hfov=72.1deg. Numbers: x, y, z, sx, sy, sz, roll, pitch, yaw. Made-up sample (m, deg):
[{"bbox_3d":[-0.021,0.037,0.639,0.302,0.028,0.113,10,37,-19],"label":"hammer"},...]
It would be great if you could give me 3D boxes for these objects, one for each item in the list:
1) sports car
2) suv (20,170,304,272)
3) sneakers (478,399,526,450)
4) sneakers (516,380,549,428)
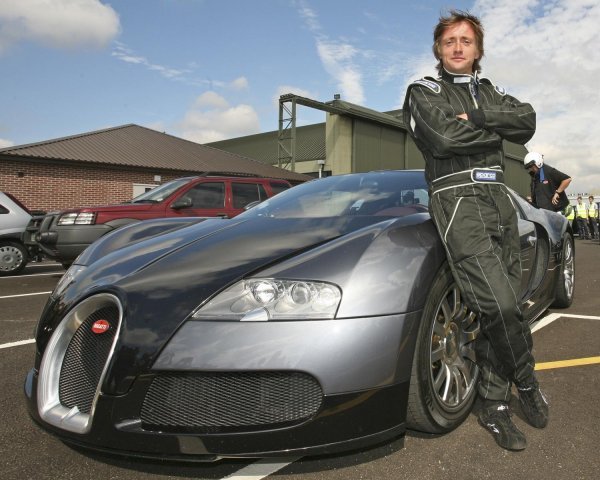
[{"bbox_3d":[0.538,0.140,3.639,2.747,1.269,4.826,-1,4,37],"label":"sports car"},{"bbox_3d":[-2.451,-0.424,7.757,4.561,1.480,2.094,0,0,-29],"label":"suv"},{"bbox_3d":[1.054,0.957,2.168,0.112,0.114,0.295,-18,14,-13],"label":"sneakers"},{"bbox_3d":[1.291,0.927,2.290,0.120,0.264,0.114,-22,-11,10],"label":"sneakers"}]
